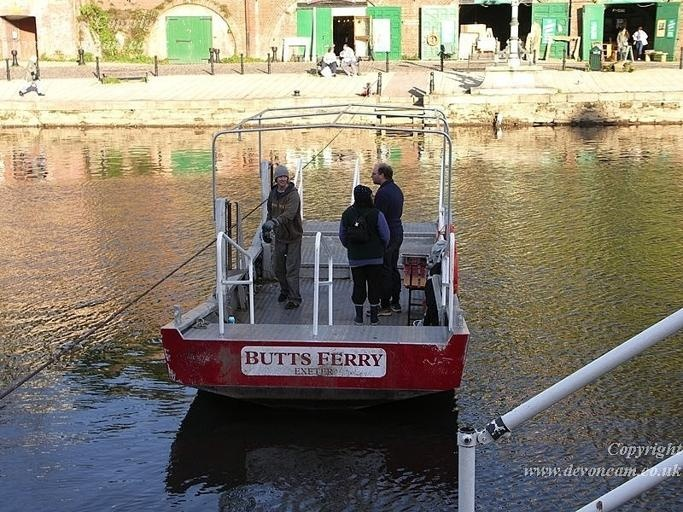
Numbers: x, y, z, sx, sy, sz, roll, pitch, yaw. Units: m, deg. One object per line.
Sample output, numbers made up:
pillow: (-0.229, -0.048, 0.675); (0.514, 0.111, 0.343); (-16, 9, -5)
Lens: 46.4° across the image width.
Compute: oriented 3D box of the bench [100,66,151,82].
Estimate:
bench: (-9.307, -7.868, 34.617); (2.161, 0.705, 4.072); (-3, 11, -13)

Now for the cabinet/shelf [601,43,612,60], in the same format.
cabinet/shelf: (12.806, -9.783, 38.290); (0.462, 0.840, 1.526); (3, 12, 17)

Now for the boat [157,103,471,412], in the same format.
boat: (-0.211, 0.351, 10.131); (3.209, 2.375, 4.869); (0, 19, 4)

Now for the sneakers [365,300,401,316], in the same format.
sneakers: (0.502, 0.622, 9.529); (0.441, 0.151, 0.153); (0, 6, -10)

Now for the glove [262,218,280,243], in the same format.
glove: (-0.823, -0.314, 9.190); (0.245, 0.280, 0.116); (2, 56, -6)

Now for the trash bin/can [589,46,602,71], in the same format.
trash bin/can: (10.648, -8.237, 33.327); (0.401, 0.942, 0.735); (-5, 14, -17)

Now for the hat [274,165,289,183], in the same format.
hat: (-0.687, -0.952, 9.333); (0.178, 0.154, 0.210); (-1, 7, -10)
